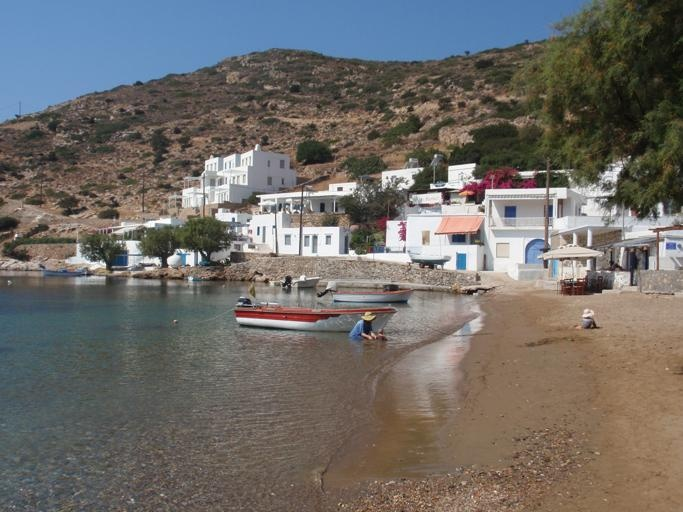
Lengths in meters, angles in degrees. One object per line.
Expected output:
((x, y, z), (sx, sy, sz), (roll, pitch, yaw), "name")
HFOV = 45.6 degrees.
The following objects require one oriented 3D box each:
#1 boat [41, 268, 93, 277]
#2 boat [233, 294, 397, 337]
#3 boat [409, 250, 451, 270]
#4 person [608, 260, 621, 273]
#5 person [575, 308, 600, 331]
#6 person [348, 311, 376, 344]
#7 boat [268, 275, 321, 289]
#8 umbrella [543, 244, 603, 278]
((-33.961, 2.122, 100.614), (4.246, 0.647, 0.900), (2, -2, -1), "boat")
((-1.351, 3.301, 43.049), (9.526, 1.721, 2.952), (0, 1, 27), "boat")
((7.627, 0.479, 69.757), (3.298, 1.295, 1.624), (1, -2, 24), "boat")
((16.848, 0.701, 49.957), (0.683, 0.438, 0.917), (0, 15, -26), "person")
((10.789, 2.846, 35.184), (1.303, 1.100, 0.918), (3, 13, 23), "person")
((1.088, 3.502, 40.163), (1.187, 1.371, 0.915), (2, -2, -3), "person")
((-4.668, 2.563, 75.055), (4.637, 1.094, 1.747), (-1, 0, 24), "boat")
((13.752, 0.359, 48.400), (3.336, 2.004, 3.331), (-10, 7, -44), "umbrella")
